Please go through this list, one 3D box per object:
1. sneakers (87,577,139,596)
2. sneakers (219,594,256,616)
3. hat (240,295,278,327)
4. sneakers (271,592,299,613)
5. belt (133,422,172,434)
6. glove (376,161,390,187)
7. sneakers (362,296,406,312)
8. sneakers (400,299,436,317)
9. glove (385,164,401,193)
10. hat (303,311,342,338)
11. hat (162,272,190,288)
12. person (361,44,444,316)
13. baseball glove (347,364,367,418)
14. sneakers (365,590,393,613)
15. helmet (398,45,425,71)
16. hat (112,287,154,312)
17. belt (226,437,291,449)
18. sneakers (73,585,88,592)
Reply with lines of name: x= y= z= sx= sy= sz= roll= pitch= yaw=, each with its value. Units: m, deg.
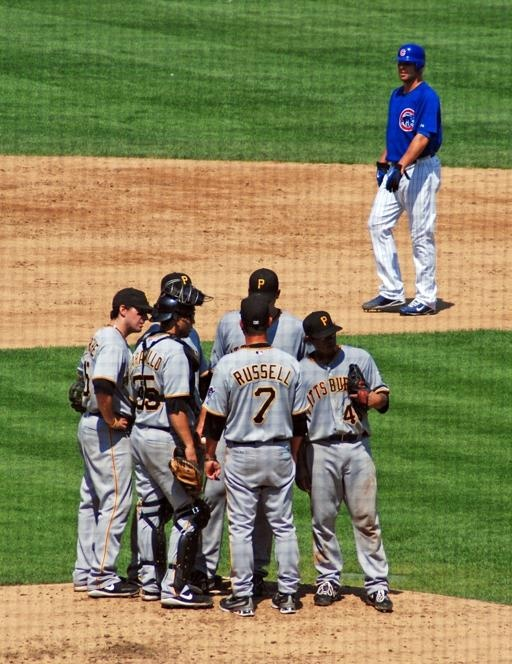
sneakers: x=-1.064 y=1.895 z=12.907 sx=0.363 sy=0.193 sz=0.158 roll=-3 pitch=7 yaw=-7
sneakers: x=-0.127 y=1.995 z=12.679 sx=0.278 sy=0.151 sz=0.115 roll=9 pitch=4 yaw=43
hat: x=-0.004 y=-0.138 z=12.660 sx=0.209 sy=0.253 sz=0.240 roll=0 pitch=2 yaw=-4
sneakers: x=0.223 y=2.011 z=12.752 sx=0.093 sy=0.125 sz=0.244 roll=1 pitch=5 yaw=-7
belt: x=-0.753 y=0.721 z=12.719 sx=0.276 sy=0.058 sz=0.048 roll=1 pitch=2 yaw=19
glove: x=1.246 y=-1.518 z=16.698 sx=0.146 sy=0.231 sz=0.204 roll=-3 pitch=20 yaw=-10
sneakers: x=1.261 y=-0.254 z=17.365 sx=0.446 sy=0.232 sz=0.181 roll=-2 pitch=24 yaw=-8
sneakers: x=1.645 y=-0.215 z=17.278 sx=0.401 sy=0.227 sz=0.155 roll=2 pitch=6 yaw=-19
glove: x=1.295 y=-1.426 z=16.224 sx=0.152 sy=0.252 sz=0.079 roll=-2 pitch=7 yaw=-15
hat: x=0.478 y=-0.031 z=12.704 sx=0.165 sy=0.157 sz=0.235 roll=-25 pitch=12 yaw=-30
hat: x=-0.595 y=-0.389 z=12.856 sx=0.168 sy=0.120 sz=0.122 roll=-7 pitch=5 yaw=-13
person: x=1.422 y=-1.425 z=16.729 sx=0.711 sy=2.576 sz=1.233 roll=0 pitch=2 yaw=5
baseball glove: x=0.731 y=0.425 z=12.774 sx=0.141 sy=0.427 sz=0.120 roll=-3 pitch=-8 yaw=-45
sneakers: x=0.905 y=2.012 z=12.817 sx=0.098 sy=0.123 sz=0.241 roll=1 pitch=0 yaw=-23
helmet: x=1.452 y=-2.592 z=16.301 sx=0.247 sy=0.240 sz=0.351 roll=0 pitch=2 yaw=3
hat: x=-0.940 y=-0.228 z=13.015 sx=0.221 sy=0.157 sz=0.177 roll=4 pitch=7 yaw=-5
belt: x=0.008 y=0.819 z=12.630 sx=0.449 sy=0.069 sz=0.139 roll=0 pitch=2 yaw=8
sneakers: x=-1.335 y=1.962 z=13.127 sx=0.128 sy=0.060 sz=0.047 roll=-1 pitch=6 yaw=-38
